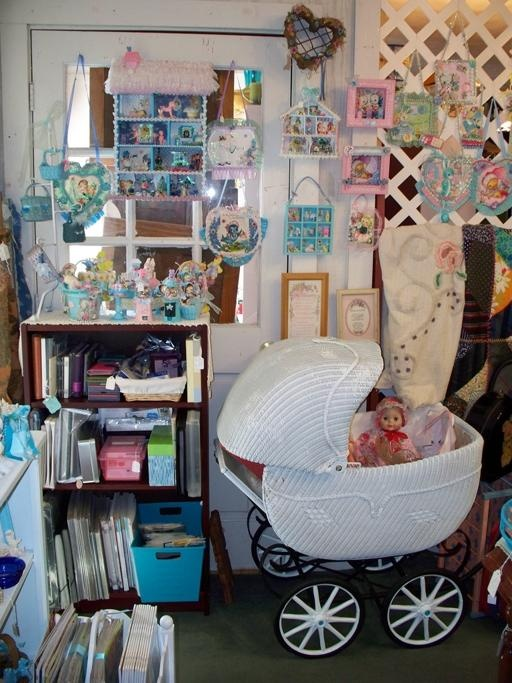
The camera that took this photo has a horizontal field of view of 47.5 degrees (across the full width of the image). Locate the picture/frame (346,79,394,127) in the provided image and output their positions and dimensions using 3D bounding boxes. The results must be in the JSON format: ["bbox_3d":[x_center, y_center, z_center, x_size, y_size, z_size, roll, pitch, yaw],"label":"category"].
[{"bbox_3d":[0.468,-0.986,2.413,0.202,0.203,0.022,2,17,-15],"label":"picture/frame"}]

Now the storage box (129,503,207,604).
[{"bbox_3d":[-0.354,0.870,2.434,0.284,0.259,0.395,1,0,-2],"label":"storage box"}]

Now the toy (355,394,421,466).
[{"bbox_3d":[0.525,0.444,2.387,0.240,0.400,0.108,6,7,22],"label":"toy"}]

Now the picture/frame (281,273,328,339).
[{"bbox_3d":[0.211,-0.132,2.558,0.202,0.337,0.027,0,-12,9],"label":"picture/frame"}]

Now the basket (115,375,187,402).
[{"bbox_3d":[-0.399,0.182,2.228,0.261,0.113,0.105,-3,9,-7],"label":"basket"}]

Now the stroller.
[{"bbox_3d":[0.305,0.502,2.109,0.909,1.035,0.642,-2,11,-15],"label":"stroller"}]

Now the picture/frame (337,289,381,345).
[{"bbox_3d":[0.433,-0.109,2.511,0.247,0.328,0.027,-1,8,-13],"label":"picture/frame"}]
